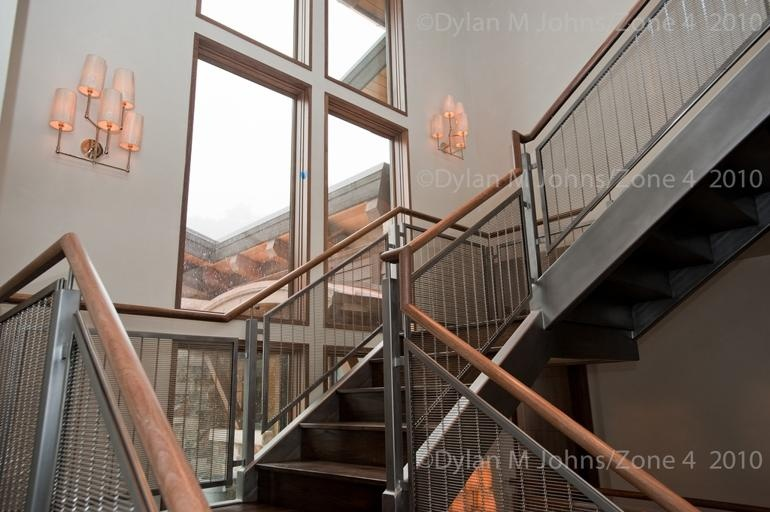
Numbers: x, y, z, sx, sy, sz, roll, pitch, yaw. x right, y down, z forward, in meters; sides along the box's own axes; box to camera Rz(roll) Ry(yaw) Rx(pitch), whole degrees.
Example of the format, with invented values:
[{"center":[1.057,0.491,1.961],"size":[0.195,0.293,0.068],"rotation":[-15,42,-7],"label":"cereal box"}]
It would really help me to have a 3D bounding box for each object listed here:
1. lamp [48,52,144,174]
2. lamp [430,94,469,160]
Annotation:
[{"center":[-2.260,-1.176,4.531],"size":[0.404,0.853,0.695],"rotation":[-13,-19,43],"label":"lamp"},{"center":[0.876,-1.656,6.955],"size":[0.614,0.773,0.330],"rotation":[14,-21,-39],"label":"lamp"}]
